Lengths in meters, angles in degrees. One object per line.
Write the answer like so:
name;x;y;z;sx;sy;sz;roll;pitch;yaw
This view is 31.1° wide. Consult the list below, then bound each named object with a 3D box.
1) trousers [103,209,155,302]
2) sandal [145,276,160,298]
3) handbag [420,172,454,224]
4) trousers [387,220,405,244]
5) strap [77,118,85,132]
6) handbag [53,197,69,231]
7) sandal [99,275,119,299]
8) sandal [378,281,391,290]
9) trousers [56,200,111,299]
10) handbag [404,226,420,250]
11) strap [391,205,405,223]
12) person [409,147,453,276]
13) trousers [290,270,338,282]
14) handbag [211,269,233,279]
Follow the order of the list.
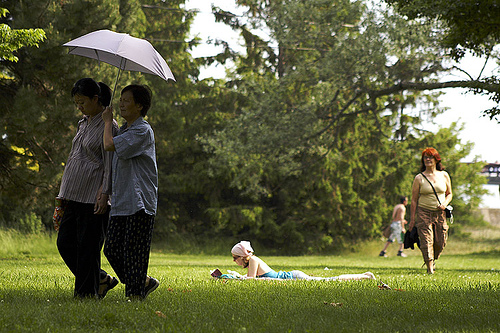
trousers;-2.732;1.977;20.132;1.039;2.053;0.430;3;-4;-7
sandal;-2.250;2.720;20.410;0.243;0.542;0.183;41;-24;-17
handbag;5.035;0.852;24.305;0.241;1.547;0.312;-38;6;47
trousers;5.600;2.460;34.269;0.529;0.849;0.759;1;-5;10
strap;-3.899;-0.928;20.534;0.140;0.255;0.523;4;-5;-18
handbag;-4.343;1.061;20.515;0.482;0.614;0.646;2;-8;-2
sandal;-3.231;2.686;20.506;0.258;0.656;0.219;38;-7;-16
sandal;3.250;2.895;21.656;0.290;0.167;0.106;15;38;14
trousers;-3.777;1.858;20.180;1.123;2.163;0.440;3;-4;-13
handbag;4.410;1.947;24.421;0.516;0.546;0.218;1;11;-26
strap;5.737;1.828;34.596;0.151;1.047;0.116;-3;-45;25
person;4.960;1.223;24.449;1.234;3.522;1.113;-1;3;-42
trousers;1.653;2.799;22.985;1.243;0.225;0.986;1;-5;14
handbag;-0.704;2.740;22.905;0.353;0.222;0.600;5;-6;-29
